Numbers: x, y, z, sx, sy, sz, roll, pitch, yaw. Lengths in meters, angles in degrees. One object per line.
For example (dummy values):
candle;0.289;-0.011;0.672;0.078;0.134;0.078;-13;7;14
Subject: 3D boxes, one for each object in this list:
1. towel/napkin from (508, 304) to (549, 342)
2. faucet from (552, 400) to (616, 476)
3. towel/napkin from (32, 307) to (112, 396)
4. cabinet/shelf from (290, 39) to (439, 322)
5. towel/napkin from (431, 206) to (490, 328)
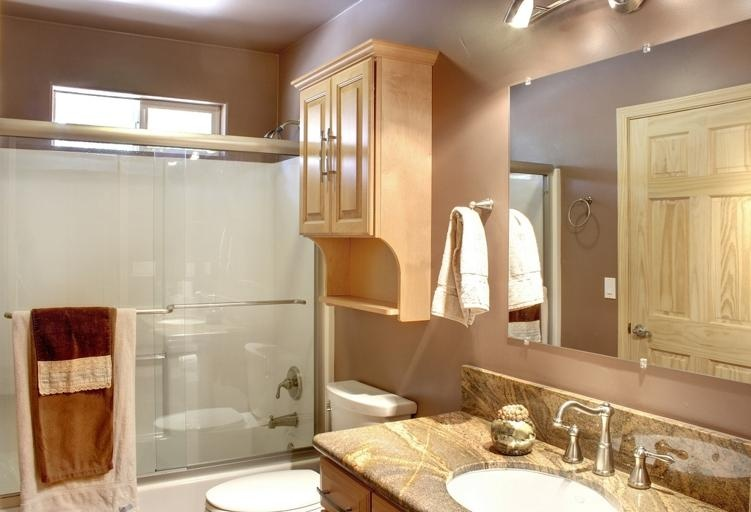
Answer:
towel/napkin;0.631;0.275;2.203;0.092;0.165;0.168;1;-1;-27
faucet;0.745;0.643;1.920;0.197;0.246;0.100;0;3;21
towel/napkin;-1.582;0.504;2.769;0.427;0.546;0.082;-1;-2;-22
cabinet/shelf;-0.063;-0.342;2.777;0.748;1.312;0.341;1;3;45
towel/napkin;0.395;0.055;2.327;0.246;0.550;0.276;1;3;36
